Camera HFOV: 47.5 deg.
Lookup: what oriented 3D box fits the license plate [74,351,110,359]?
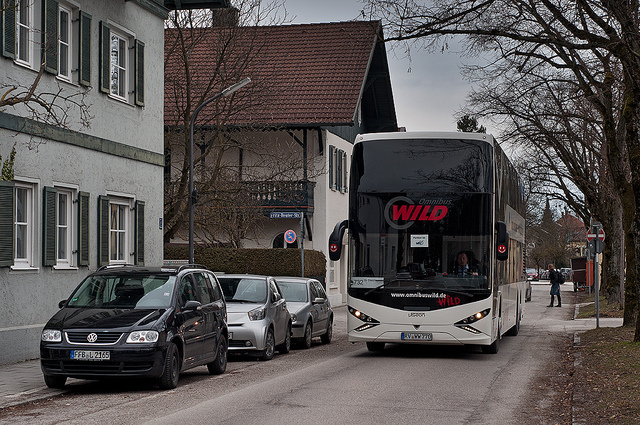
[{"bbox_3d":[-4.279,2.650,13.588,0.670,0.152,0.123,-3,-7,15],"label":"license plate"}]

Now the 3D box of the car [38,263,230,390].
[{"bbox_3d":[-3.658,2.245,14.648,3.689,2.526,2.098,2,-7,-28],"label":"car"}]

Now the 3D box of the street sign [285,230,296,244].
[{"bbox_3d":[-1.291,1.002,31.274,0.351,0.475,0.367,-5,-7,29],"label":"street sign"}]

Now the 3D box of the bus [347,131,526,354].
[{"bbox_3d":[3.136,0.690,19.894,3.551,4.812,15.200,-1,-4,19],"label":"bus"}]

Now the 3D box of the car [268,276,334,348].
[{"bbox_3d":[-0.537,2.994,22.405,1.405,1.211,2.437,-2,-9,11],"label":"car"}]

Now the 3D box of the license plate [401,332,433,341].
[{"bbox_3d":[2.445,3.131,18.451,0.788,0.220,0.065,-2,-6,6],"label":"license plate"}]

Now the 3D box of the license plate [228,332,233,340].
[{"bbox_3d":[-2.251,3.082,18.251,0.079,0.174,0.072,-1,-6,-6],"label":"license plate"}]
